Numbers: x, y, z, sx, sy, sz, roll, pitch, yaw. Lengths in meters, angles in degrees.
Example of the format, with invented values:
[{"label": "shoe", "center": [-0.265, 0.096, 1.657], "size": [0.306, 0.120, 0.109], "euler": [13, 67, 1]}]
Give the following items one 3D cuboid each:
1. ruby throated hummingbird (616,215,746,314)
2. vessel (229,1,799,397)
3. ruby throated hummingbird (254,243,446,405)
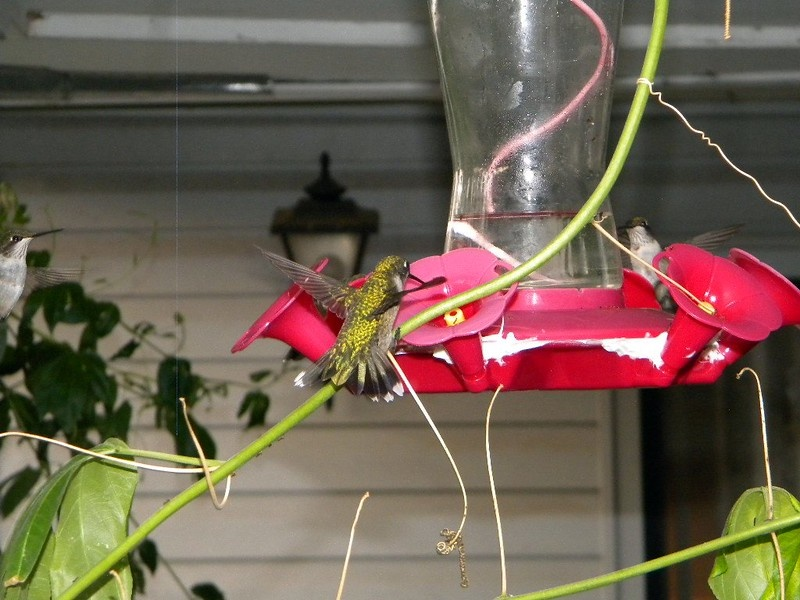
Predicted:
[{"label": "ruby throated hummingbird", "center": [0.659, -0.110, 3.783], "size": [0.274, 0.125, 0.268], "euler": [1, -24, -3]}, {"label": "vessel", "center": [0.277, -0.064, 3.451], "size": [0.998, 0.437, 0.973], "euler": [-3, -4, -44]}, {"label": "ruby throated hummingbird", "center": [-0.089, 0.026, 3.384], "size": [0.423, 0.362, 0.262], "euler": [6, -69, 17]}]
